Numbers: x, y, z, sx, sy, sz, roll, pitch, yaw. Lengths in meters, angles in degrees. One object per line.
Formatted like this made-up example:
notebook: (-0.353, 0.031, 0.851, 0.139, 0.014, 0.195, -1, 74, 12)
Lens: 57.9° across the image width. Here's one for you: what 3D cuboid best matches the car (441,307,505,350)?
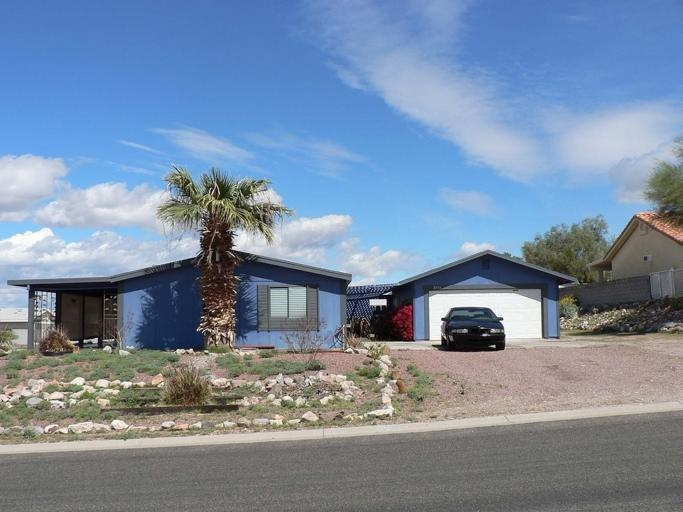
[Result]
car: (4.930, 2.688, 23.233, 2.188, 1.722, 2.210, -2, -10, 10)
